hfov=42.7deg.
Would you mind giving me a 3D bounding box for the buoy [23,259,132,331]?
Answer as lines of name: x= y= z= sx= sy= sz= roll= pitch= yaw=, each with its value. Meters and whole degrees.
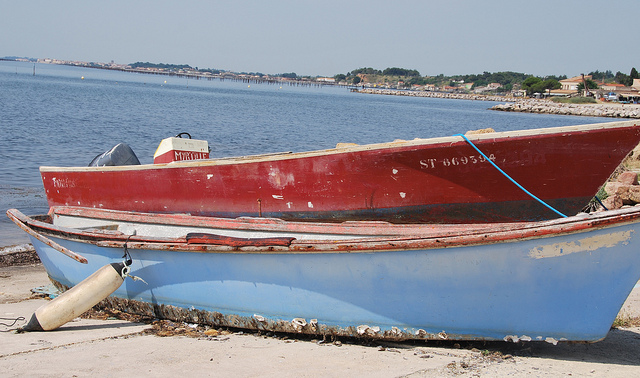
buoy: x=-4.960 y=2.217 z=16.770 sx=2.632 sy=0.586 sz=0.626 roll=-33 pitch=42 yaw=-28
